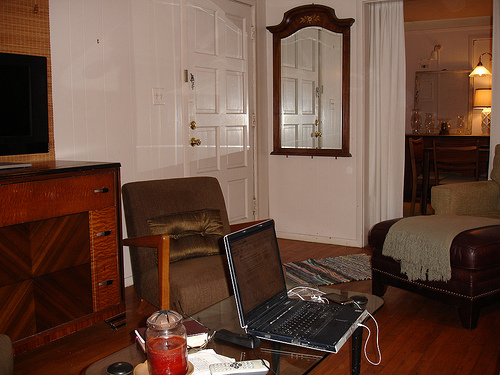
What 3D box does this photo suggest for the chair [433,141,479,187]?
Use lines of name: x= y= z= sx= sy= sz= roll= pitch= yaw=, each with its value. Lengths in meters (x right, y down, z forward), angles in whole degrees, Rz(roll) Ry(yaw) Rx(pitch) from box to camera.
chair: x=2.658 y=-0.317 z=4.900 sx=0.490 sy=0.931 sz=0.576 roll=3 pitch=14 yaw=28

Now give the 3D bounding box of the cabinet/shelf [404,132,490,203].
cabinet/shelf: x=3.191 y=-0.469 z=5.890 sx=0.525 sy=0.627 sz=0.869 roll=-2 pitch=12 yaw=-30

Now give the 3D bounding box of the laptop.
laptop: x=0.192 y=0.359 z=1.537 sx=0.442 sy=0.396 sz=0.445 roll=-3 pitch=-1 yaw=30

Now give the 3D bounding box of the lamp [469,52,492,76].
lamp: x=3.963 y=-2.126 z=6.531 sx=0.332 sy=0.397 sz=0.360 roll=5 pitch=6 yaw=6

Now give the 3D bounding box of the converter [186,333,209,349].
converter: x=-0.197 y=0.577 z=1.418 sx=0.064 sy=0.040 sz=0.011 roll=6 pitch=-25 yaw=-32

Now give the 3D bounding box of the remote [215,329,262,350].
remote: x=-0.048 y=0.571 z=1.417 sx=0.171 sy=0.027 sz=0.063 roll=4 pitch=8 yaw=31

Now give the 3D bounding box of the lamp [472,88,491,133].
lamp: x=4.022 y=-1.338 z=6.584 sx=0.259 sy=0.789 sz=0.441 roll=2 pitch=10 yaw=29
